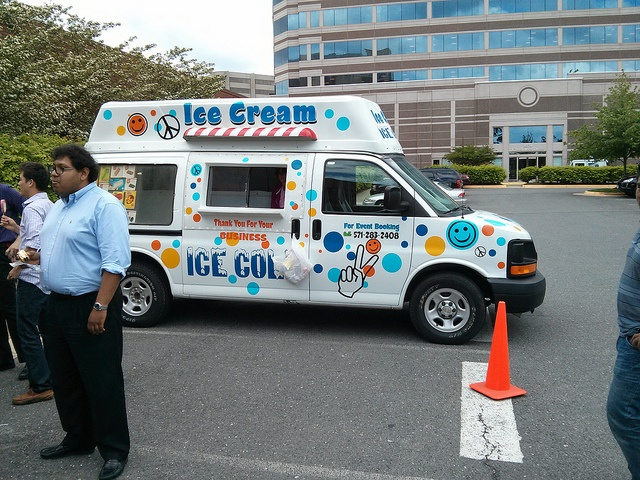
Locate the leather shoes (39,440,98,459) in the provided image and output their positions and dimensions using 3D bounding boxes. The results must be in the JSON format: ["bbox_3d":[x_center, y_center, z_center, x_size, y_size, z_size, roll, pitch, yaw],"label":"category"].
[{"bbox_3d":[-2.191,1.813,4.642,0.446,0.192,0.165,8,-4,-14],"label":"leather shoes"}]

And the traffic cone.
[{"bbox_3d":[1.870,1.148,5.562,0.482,0.924,0.411,-5,11,-25],"label":"traffic cone"}]

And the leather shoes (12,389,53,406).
[{"bbox_3d":[-3.010,1.637,5.584,0.414,0.179,0.158,3,-2,-27],"label":"leather shoes"}]

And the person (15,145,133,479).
[{"bbox_3d":[-1.963,0.556,4.398,0.804,2.669,0.528,4,10,25],"label":"person"}]

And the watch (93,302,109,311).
[{"bbox_3d":[-1.758,0.518,4.189,0.071,0.046,0.074,2,-4,13],"label":"watch"}]
